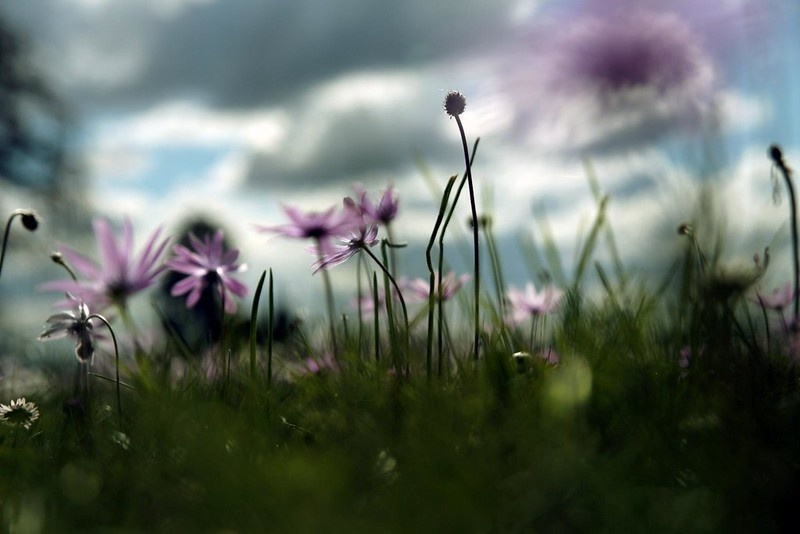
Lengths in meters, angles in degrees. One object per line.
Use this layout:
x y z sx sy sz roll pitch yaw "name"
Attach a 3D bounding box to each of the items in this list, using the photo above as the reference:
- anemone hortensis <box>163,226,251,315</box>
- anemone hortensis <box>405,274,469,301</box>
-0.331 0.020 1.360 0.098 0.172 0.140 3 51 8 "anemone hortensis"
0.062 0.034 1.354 0.077 0.084 0.026 -2 91 -21 "anemone hortensis"
